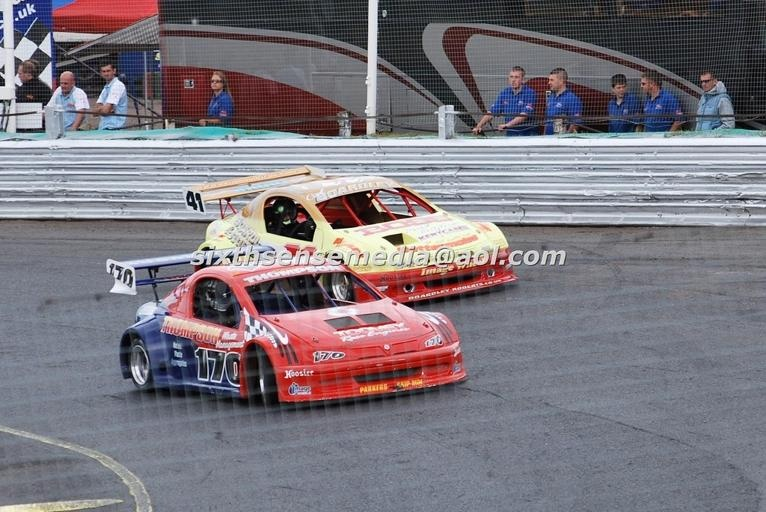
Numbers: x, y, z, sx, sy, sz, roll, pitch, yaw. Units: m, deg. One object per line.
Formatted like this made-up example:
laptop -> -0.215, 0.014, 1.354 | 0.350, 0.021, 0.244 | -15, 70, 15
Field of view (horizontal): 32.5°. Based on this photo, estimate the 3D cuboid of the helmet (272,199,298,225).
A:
helmet -> -1.352, -0.626, 18.331 | 0.363, 0.344, 0.402 | 3, -4, 23

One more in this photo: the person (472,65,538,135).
person -> 2.119, -2.590, 22.129 | 1.080, 1.184, 1.368 | -4, 16, -10

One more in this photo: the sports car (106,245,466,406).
sports car -> -1.153, 0.726, 15.345 | 2.577, 1.168, 3.799 | -10, 10, -41

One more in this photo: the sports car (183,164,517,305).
sports car -> -0.462, -0.354, 18.550 | 3.079, 1.159, 4.311 | -16, 16, -33

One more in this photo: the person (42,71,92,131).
person -> -5.767, -2.849, 24.288 | 0.690, 1.044, 1.725 | -6, 16, -13

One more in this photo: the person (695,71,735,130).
person -> 5.363, -2.488, 21.189 | 0.620, 0.902, 1.562 | 3, 15, 13

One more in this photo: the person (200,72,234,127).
person -> -2.955, -2.797, 23.497 | 0.606, 0.985, 0.869 | -3, 17, -6

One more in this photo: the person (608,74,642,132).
person -> 4.003, -2.505, 21.840 | 0.529, 0.976, 1.439 | 2, 15, 10

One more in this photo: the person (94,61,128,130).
person -> -4.908, -2.876, 23.811 | 0.603, 1.151, 1.165 | -5, 16, -11

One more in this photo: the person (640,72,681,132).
person -> 4.571, -2.519, 21.564 | 0.669, 0.962, 1.453 | 2, 15, 10
